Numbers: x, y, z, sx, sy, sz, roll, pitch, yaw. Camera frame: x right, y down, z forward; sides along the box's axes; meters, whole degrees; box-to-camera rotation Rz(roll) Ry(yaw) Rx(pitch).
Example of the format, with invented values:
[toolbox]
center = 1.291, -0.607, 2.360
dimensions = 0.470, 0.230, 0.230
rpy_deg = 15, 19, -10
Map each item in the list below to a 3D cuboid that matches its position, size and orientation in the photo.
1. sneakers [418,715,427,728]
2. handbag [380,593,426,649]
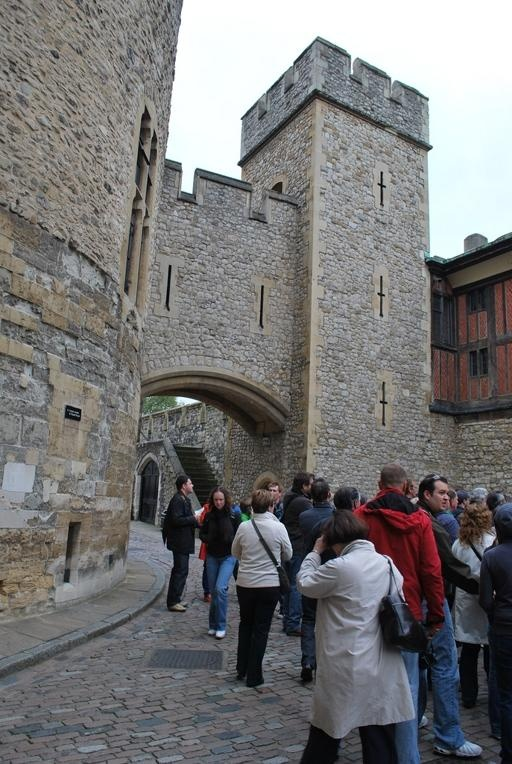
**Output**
[sneakers]
center = 0.978, 1.998, 3.373
dimensions = 0.038, 0.054, 0.122
rpy_deg = 2, -9, 23
[handbag]
center = 0.530, 0.892, 2.108
dimensions = 0.168, 0.181, 0.086
rpy_deg = 1, -12, 11
